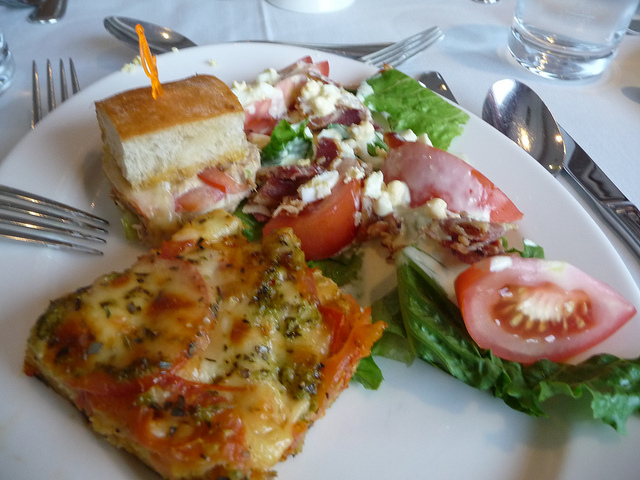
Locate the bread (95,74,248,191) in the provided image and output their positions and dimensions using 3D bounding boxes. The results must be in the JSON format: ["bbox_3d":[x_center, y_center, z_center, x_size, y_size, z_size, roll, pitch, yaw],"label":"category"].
[{"bbox_3d":[-0.646,-0.507,2.425,0.689,0.410,0.521,-23,56,-27],"label":"bread"}]

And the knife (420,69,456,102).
[{"bbox_3d":[0.719,-0.966,3.269,0.107,0.014,0.304,-25,56,-17],"label":"knife"}]

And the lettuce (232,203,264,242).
[{"bbox_3d":[-0.362,-0.075,2.619,0.148,0.040,0.150,-28,86,-45],"label":"lettuce"}]

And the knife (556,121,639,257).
[{"bbox_3d":[1.458,-0.249,2.803,0.100,0.105,0.909,-17,56,-9],"label":"knife"}]

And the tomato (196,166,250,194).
[{"bbox_3d":[-0.467,-0.284,2.538,0.142,0.054,0.147,25,29,12],"label":"tomato"}]

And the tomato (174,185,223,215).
[{"bbox_3d":[-0.572,-0.192,2.480,0.124,0.045,0.166,23,54,34],"label":"tomato"}]

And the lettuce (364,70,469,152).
[{"bbox_3d":[0.514,-0.741,2.953,0.616,0.167,0.302,40,67,14],"label":"lettuce"}]

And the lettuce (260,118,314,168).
[{"bbox_3d":[-0.125,-0.513,2.736,0.217,0.221,0.080,-1,10,-45],"label":"lettuce"}]
